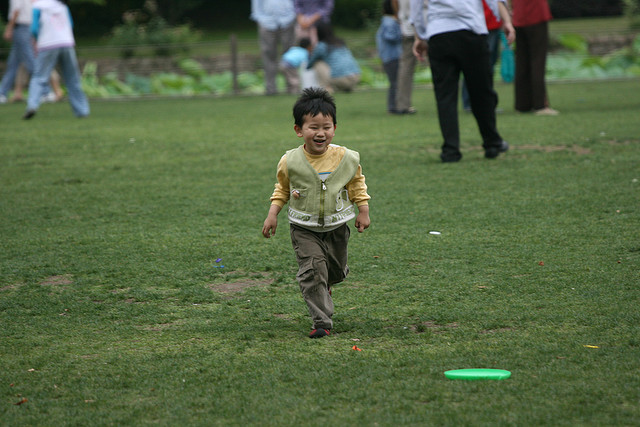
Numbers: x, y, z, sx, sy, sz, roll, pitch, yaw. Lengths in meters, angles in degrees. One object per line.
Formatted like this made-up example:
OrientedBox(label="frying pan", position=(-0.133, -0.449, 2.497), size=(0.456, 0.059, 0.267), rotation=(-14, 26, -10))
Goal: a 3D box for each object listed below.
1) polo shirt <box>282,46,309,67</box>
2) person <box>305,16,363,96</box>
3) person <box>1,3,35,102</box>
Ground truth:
OrientedBox(label="polo shirt", position=(-0.317, -2.099, 12.930), size=(0.237, 0.277, 0.387), rotation=(-8, 9, -25))
OrientedBox(label="person", position=(0.186, -2.177, 13.498), size=(0.686, 1.141, 0.675), rotation=(16, 36, 41))
OrientedBox(label="person", position=(-2.143, -1.144, 6.837), size=(0.269, 0.686, 0.098), rotation=(-2, 9, 17))
